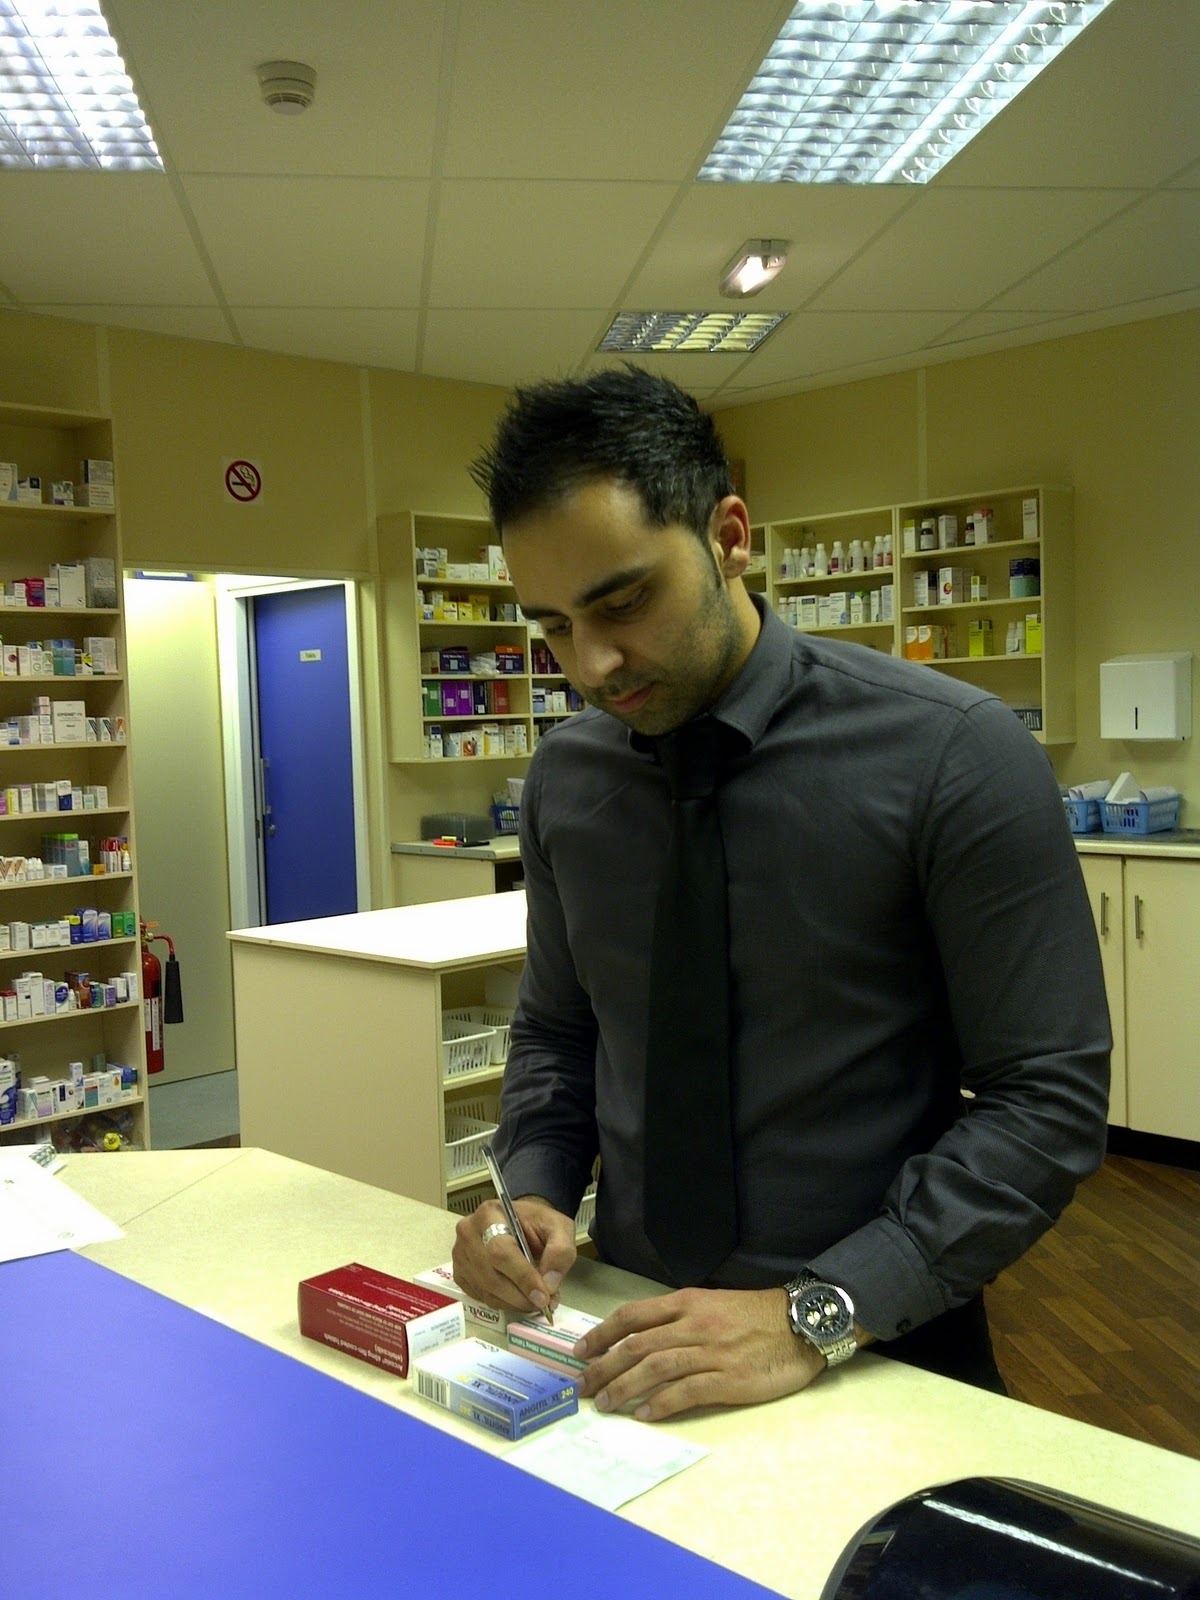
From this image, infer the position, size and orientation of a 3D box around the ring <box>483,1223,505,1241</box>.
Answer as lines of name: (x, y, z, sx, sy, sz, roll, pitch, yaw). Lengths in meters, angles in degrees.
ring: (-0.091, 0.369, 1.050, 0.014, 0.011, 0.015, 0, -37, 0)

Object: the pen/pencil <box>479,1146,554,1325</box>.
pen/pencil: (-0.070, 0.377, 1.052, 0.015, 0.118, 0.015, -27, -12, 17)

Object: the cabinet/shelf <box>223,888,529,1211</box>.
cabinet/shelf: (-0.521, 0.670, 3.178, 0.585, 0.685, 0.763, 9, 5, 15)
